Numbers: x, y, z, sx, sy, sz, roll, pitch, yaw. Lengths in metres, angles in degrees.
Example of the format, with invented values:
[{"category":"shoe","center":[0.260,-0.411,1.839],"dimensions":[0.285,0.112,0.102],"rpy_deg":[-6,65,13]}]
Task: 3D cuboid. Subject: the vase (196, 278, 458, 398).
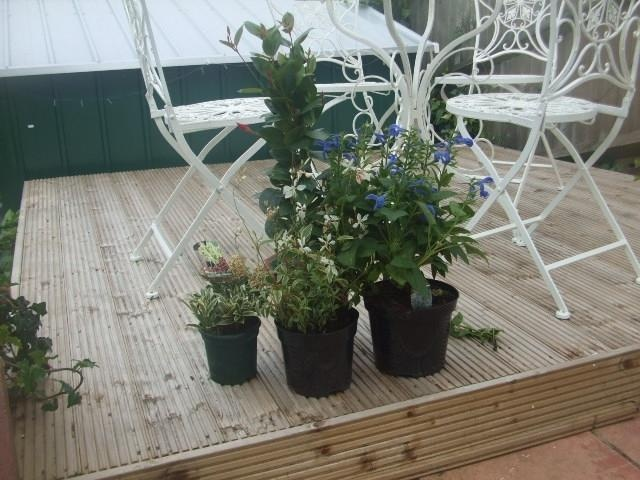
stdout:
[{"category":"vase","center":[0.102,0.257,1.484],"dimensions":[0.624,0.246,0.368],"rpy_deg":[-5,11,-9]}]
